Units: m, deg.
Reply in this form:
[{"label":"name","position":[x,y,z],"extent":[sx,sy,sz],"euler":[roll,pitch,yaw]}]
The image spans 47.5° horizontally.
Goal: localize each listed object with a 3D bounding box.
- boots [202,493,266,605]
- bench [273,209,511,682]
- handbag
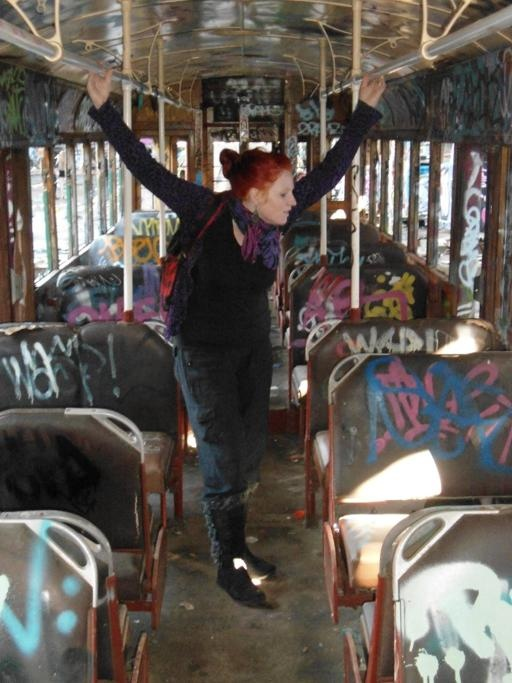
[{"label":"boots","position":[-0.075,1.001,2.792],"extent":[0.151,0.423,0.301],"euler":[-6,2,-34]},{"label":"bench","position":[0.505,0.314,3.076],"extent":[1.141,1.679,2.060],"euler":[-1,5,-5]},{"label":"handbag","position":[-0.305,-0.330,2.498],"extent":[0.294,0.510,0.133],"euler":[19,10,13]}]
